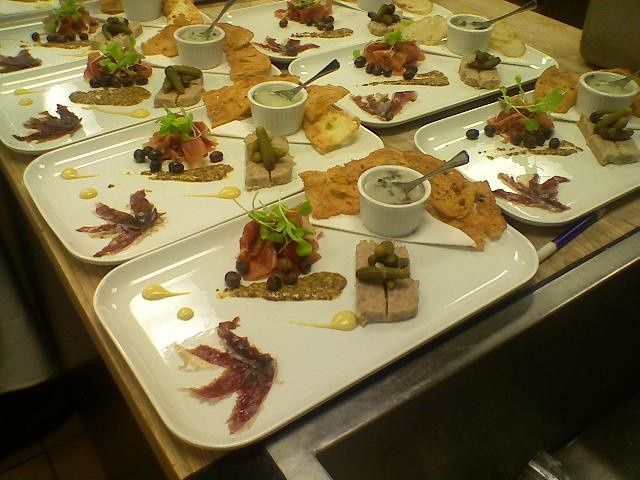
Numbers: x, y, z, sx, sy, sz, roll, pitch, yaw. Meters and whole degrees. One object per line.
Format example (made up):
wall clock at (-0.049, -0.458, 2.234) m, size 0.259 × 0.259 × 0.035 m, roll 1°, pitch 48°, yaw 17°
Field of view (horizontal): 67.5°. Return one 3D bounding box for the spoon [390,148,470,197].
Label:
spoon at (0.345, -0.206, 1.580) m, size 0.054 × 0.347 × 0.061 m, roll -32°, pitch 93°, yaw -37°

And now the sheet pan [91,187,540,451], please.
sheet pan at (-0.035, 0.123, 1.379) m, size 1.062 × 0.096 × 0.639 m, roll -28°, pitch 54°, yaw -21°

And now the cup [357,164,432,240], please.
cup at (0.224, -0.137, 1.559) m, size 0.213 × 0.124 × 0.217 m, roll 2°, pitch 53°, yaw -2°

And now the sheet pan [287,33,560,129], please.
sheet pan at (0.570, -0.752, 2.218) m, size 0.985 × 0.090 × 0.585 m, roll -21°, pitch 44°, yaw -21°

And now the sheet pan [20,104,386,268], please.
sheet pan at (-0.369, -0.172, 1.768) m, size 1.087 × 0.073 × 0.536 m, roll -17°, pitch 44°, yaw -18°

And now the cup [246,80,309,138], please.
cup at (-0.169, -0.503, 1.931) m, size 0.286 × 0.147 × 0.222 m, roll 2°, pitch 48°, yaw 1°

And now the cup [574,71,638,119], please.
cup at (1.182, -0.625, 2.015) m, size 0.270 × 0.135 × 0.225 m, roll 15°, pitch 48°, yaw 14°
